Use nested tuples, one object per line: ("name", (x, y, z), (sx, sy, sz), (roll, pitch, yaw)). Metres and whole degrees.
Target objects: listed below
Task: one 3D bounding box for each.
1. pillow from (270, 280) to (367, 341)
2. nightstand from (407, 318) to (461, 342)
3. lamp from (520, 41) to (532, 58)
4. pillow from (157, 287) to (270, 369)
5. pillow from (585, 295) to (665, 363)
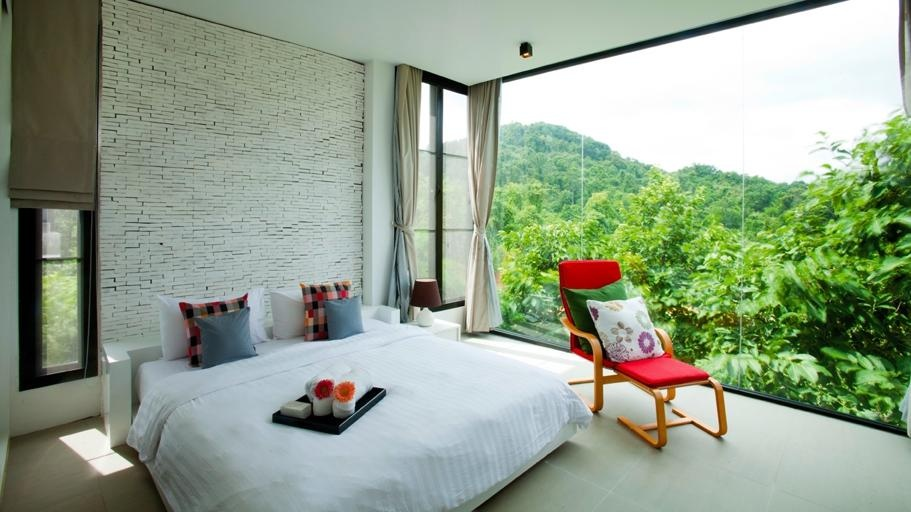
("pillow", (-1.782, 0.618, 6.265), (0.772, 0.663, 0.283), (0, -3, -1))
("nightstand", (-0.181, 0.990, 7.254), (0.334, 0.292, 0.543), (10, 9, 41))
("lamp", (0.890, -2.562, 6.808), (0.147, 0.133, 0.146), (6, -12, 8))
("pillow", (-2.593, 0.795, 5.781), (0.895, 0.504, 0.267), (-1, -9, -37))
("pillow", (1.907, 0.813, 6.032), (0.789, 0.670, 0.313), (-4, 5, -7))
